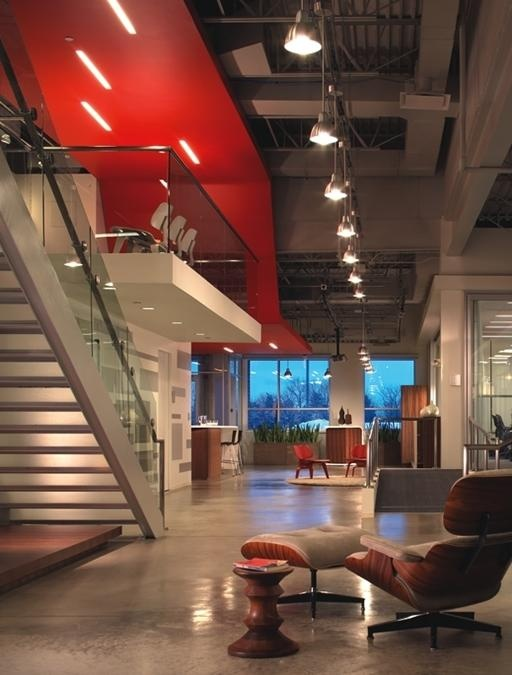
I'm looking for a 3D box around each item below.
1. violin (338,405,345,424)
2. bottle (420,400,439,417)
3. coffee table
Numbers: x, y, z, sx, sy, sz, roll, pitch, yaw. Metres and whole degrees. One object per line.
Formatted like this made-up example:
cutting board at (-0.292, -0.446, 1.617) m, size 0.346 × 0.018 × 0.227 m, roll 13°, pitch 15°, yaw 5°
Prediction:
violin at (2.717, 2.558, 19.324) m, size 0.192 × 0.461 × 0.341 m, roll -1°, pitch -6°, yaw 7°
bottle at (3.022, 1.246, 10.619) m, size 0.282 × 0.275 × 0.294 m, roll -2°, pitch -9°, yaw 38°
coffee table at (0.031, 1.190, 2.646) m, size 0.309 × 0.342 × 0.303 m, roll 2°, pitch -17°, yaw -13°
